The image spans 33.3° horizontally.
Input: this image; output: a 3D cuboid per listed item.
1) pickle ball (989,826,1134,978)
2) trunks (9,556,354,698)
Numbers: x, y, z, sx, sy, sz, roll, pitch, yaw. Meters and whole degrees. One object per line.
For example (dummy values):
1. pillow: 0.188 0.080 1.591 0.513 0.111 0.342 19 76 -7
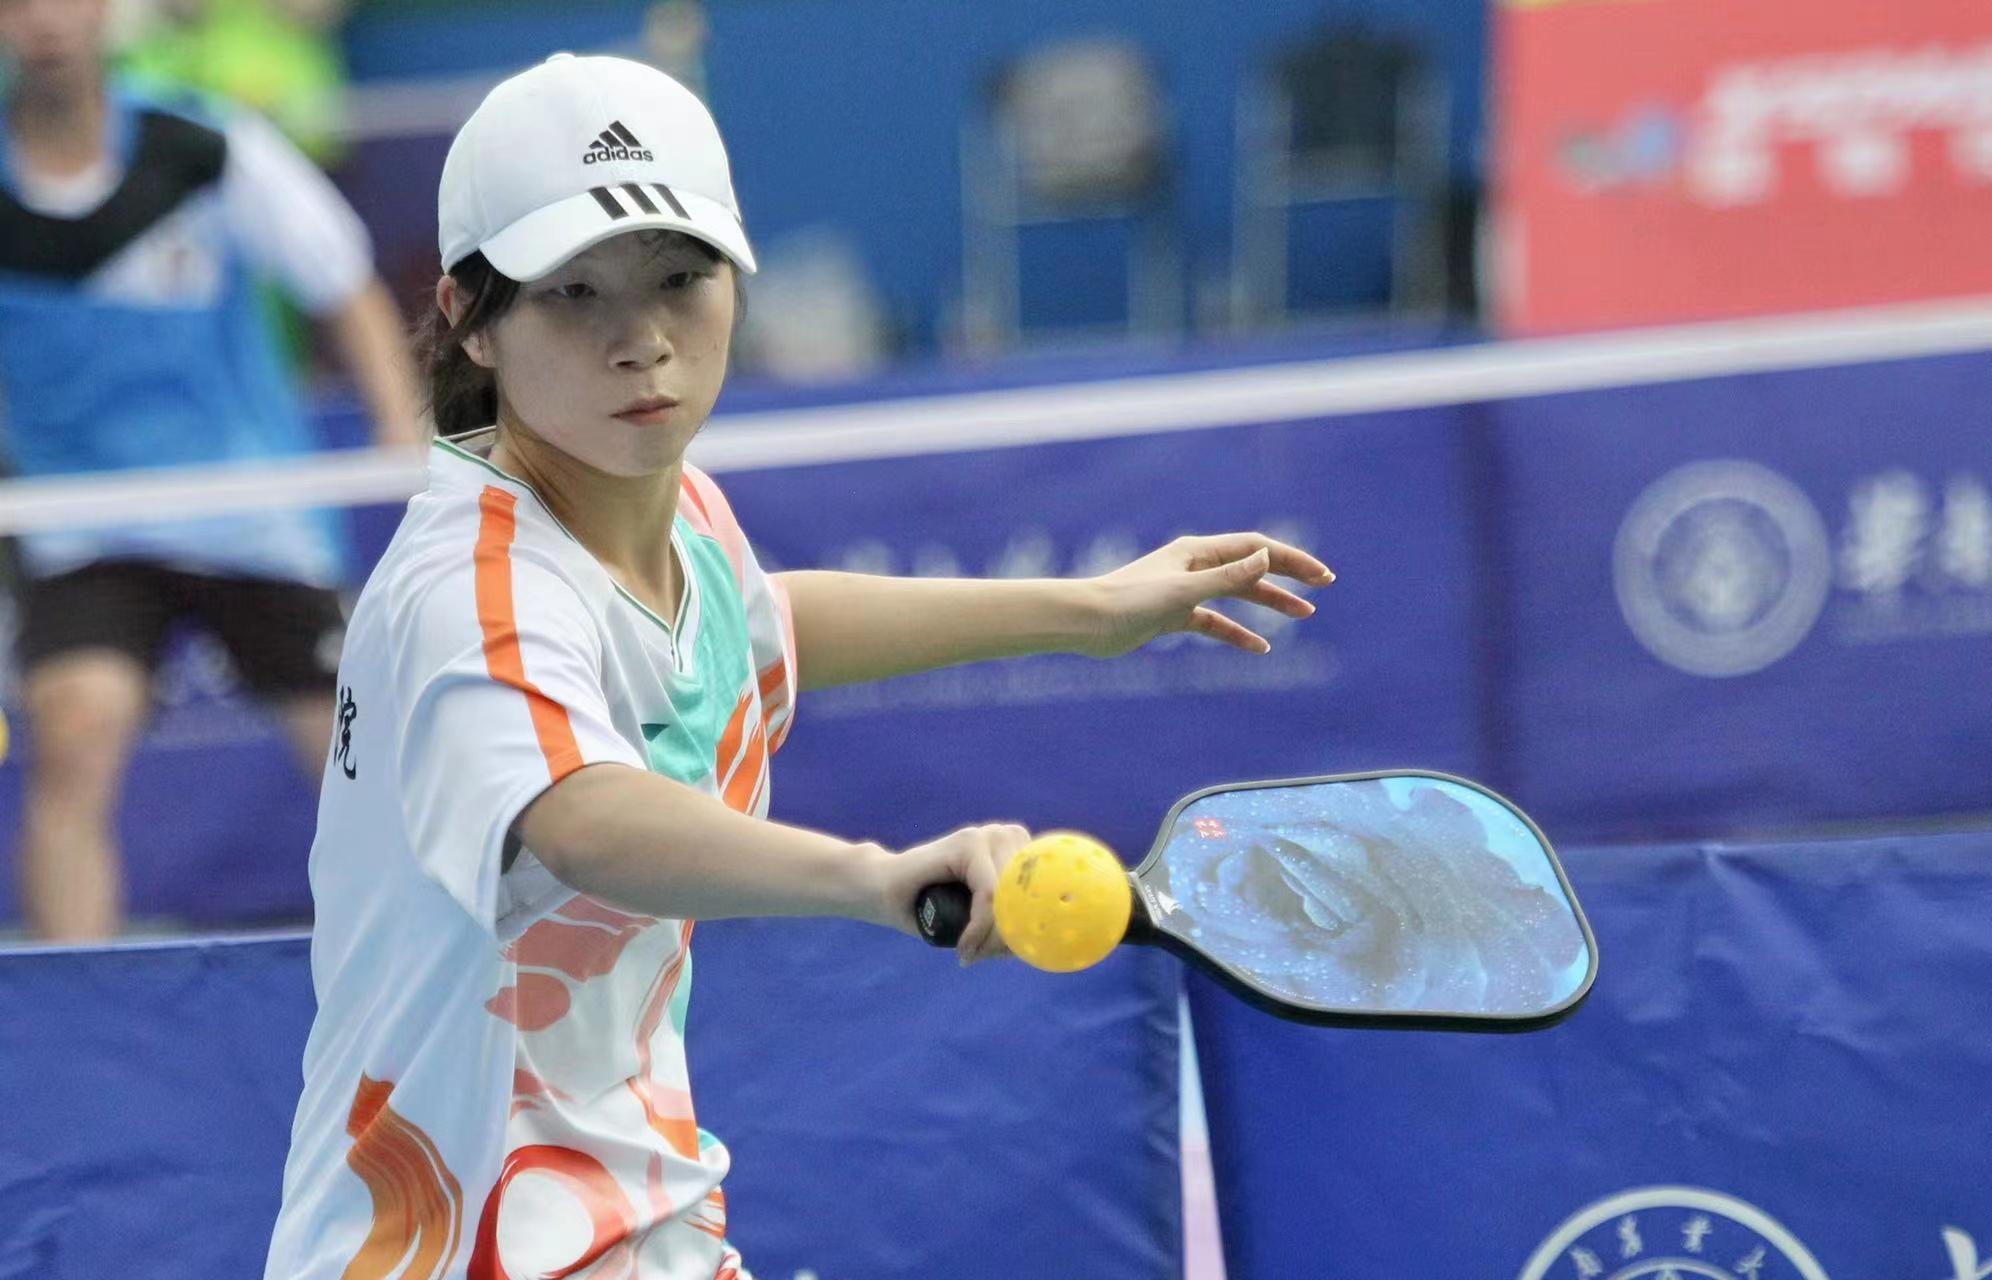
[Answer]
1. pickle ball: 0.114 0.438 5.689 0.234 0.225 0.115 -6 6 3
2. trunks: -1.805 -0.042 7.458 0.565 0.210 0.363 4 0 -29
